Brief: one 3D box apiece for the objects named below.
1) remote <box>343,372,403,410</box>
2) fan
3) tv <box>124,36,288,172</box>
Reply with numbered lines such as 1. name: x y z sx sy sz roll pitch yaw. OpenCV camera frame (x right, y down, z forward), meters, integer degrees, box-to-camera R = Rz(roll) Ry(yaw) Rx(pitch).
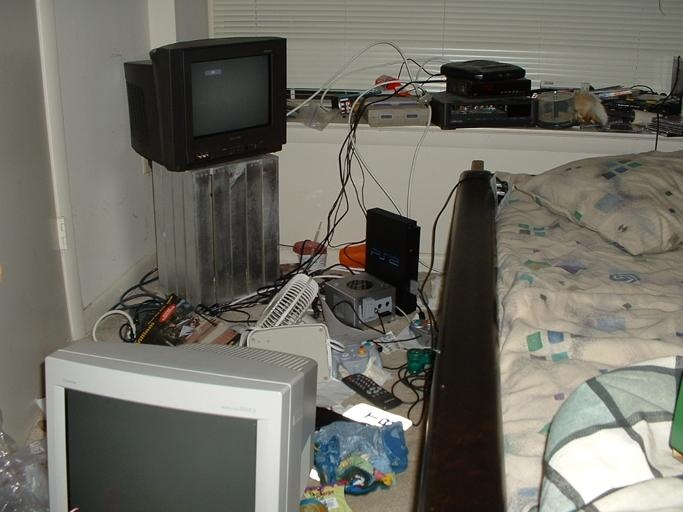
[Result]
1. remote: 0.110 0.481 2.163 0.087 0.033 0.206 -16 34 -38
2. fan: -0.200 0.165 2.512 0.217 0.092 0.408 8 -12 -14
3. tv: -0.616 -0.675 2.645 0.486 0.496 0.603 16 28 32
